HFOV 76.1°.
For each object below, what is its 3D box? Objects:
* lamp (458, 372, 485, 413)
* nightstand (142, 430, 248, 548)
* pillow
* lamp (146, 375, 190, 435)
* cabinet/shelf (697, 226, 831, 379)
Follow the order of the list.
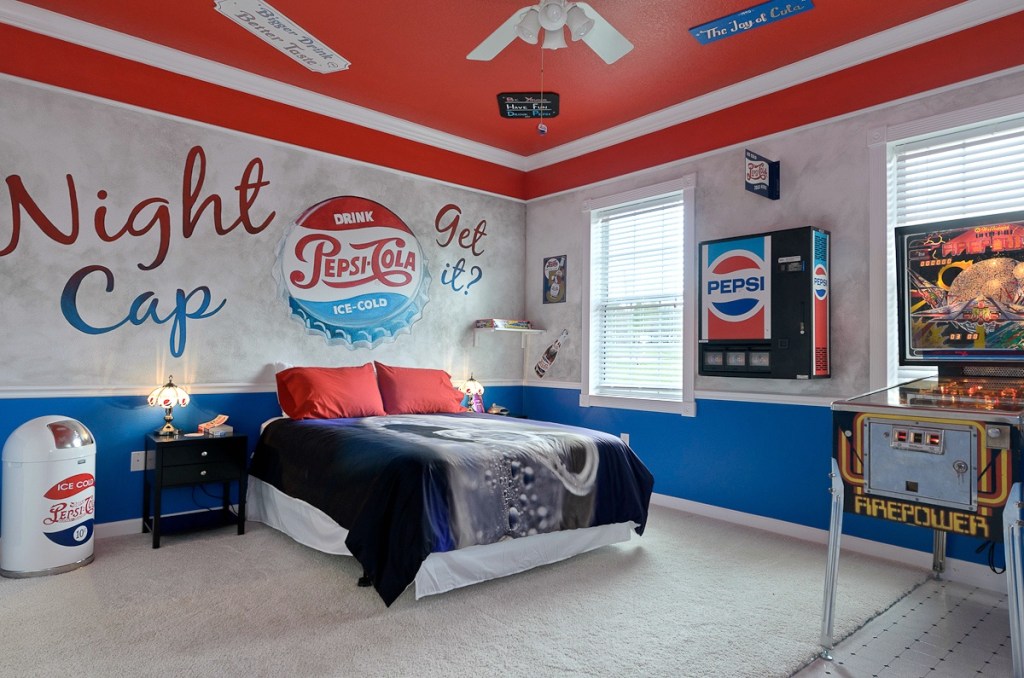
[{"bbox_3d":[-0.410,0.562,6.762,0.306,0.431,0.345,-7,-3,2],"label":"lamp"},{"bbox_3d":[-2.572,1.233,5.289,0.604,0.796,0.721,-15,-13,41],"label":"nightstand"},{"bbox_3d":[-1.258,0.478,5.891,1.580,0.493,0.548,-4,12,-24],"label":"pillow"},{"bbox_3d":[-2.758,0.557,5.276,0.302,0.458,0.288,2,-3,-25],"label":"lamp"},{"bbox_3d":[2.132,-0.294,5.458,0.458,1.524,1.251,5,-7,-44],"label":"cabinet/shelf"}]
